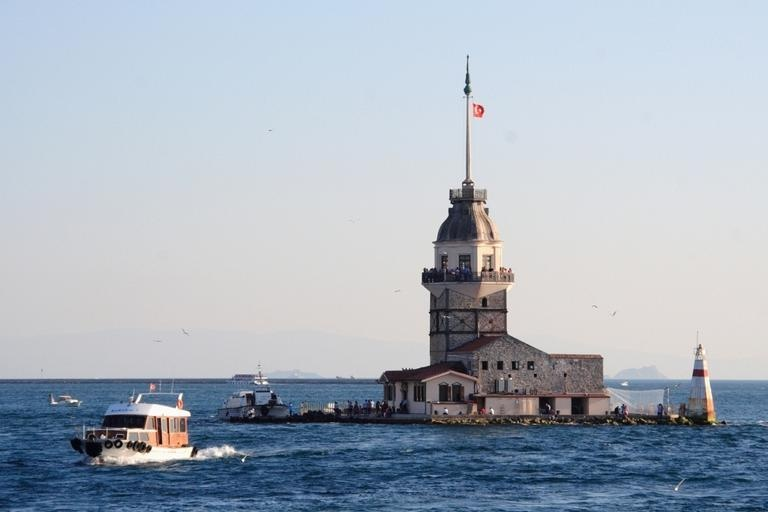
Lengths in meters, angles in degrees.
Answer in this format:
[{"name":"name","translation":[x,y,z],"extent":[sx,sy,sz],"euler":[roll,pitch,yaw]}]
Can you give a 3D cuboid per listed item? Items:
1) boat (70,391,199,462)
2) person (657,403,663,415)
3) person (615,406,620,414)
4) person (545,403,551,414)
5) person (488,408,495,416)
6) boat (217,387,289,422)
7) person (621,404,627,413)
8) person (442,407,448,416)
[{"name":"boat","translation":[-20.785,13.947,153.303],"extent":[6.259,5.478,13.011],"euler":[2,-6,22]},{"name":"person","translation":[27.831,15.372,187.685],"extent":[0.694,1.228,1.596],"euler":[-2,-9,10]},{"name":"person","translation":[23.206,15.369,185.818],"extent":[0.619,0.882,1.170],"euler":[-3,-9,13]},{"name":"person","translation":[16.109,14.914,182.988],"extent":[0.520,1.111,0.324],"euler":[-1,-10,3]},{"name":"person","translation":[10.394,15.126,181.589],"extent":[0.518,0.738,0.289],"euler":[-1,-10,3]},{"name":"boat","translation":[-13.648,15.314,192.044],"extent":[9.214,3.358,4.493],"euler":[-8,-12,42]},{"name":"person","translation":[23.939,15.382,186.012],"extent":[0.607,1.214,1.622],"euler":[-2,-9,7]},{"name":"person","translation":[5.751,15.138,181.065],"extent":[0.685,0.815,0.566],"euler":[-1,-7,-29]}]
